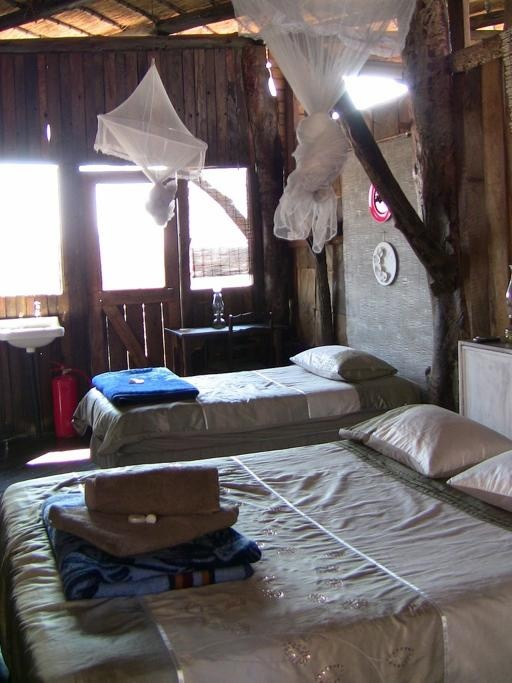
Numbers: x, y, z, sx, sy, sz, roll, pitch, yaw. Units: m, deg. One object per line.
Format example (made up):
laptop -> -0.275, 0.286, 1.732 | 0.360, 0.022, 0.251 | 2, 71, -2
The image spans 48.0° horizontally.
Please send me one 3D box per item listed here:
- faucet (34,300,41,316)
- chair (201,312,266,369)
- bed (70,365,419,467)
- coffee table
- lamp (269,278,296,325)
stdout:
faucet -> -2.055, -0.297, 5.410 | 0.065, 0.144, 0.082 | 0, 6, -22
chair -> -0.043, -0.030, 5.520 | 0.734, 0.552, 0.405 | -6, 10, -3
bed -> -0.094, 0.449, 3.557 | 1.396, 0.291, 0.923 | -6, 8, -19
coffee table -> -0.219, 0.195, 5.680 | 1.017, 0.702, 0.549 | -3, 10, -4
lamp -> 0.274, -0.394, 5.916 | 0.268, 0.465, 0.160 | 0, 6, -19
